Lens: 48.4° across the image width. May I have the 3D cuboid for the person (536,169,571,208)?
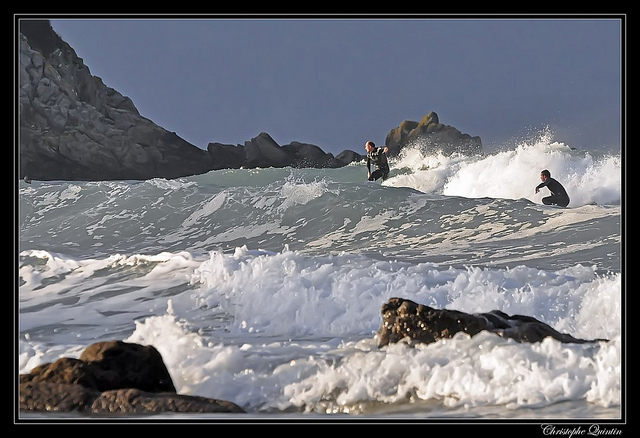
[{"bbox_3d":[7.600,-0.988,23.104,0.861,0.893,1.542,-10,40,6],"label":"person"}]
